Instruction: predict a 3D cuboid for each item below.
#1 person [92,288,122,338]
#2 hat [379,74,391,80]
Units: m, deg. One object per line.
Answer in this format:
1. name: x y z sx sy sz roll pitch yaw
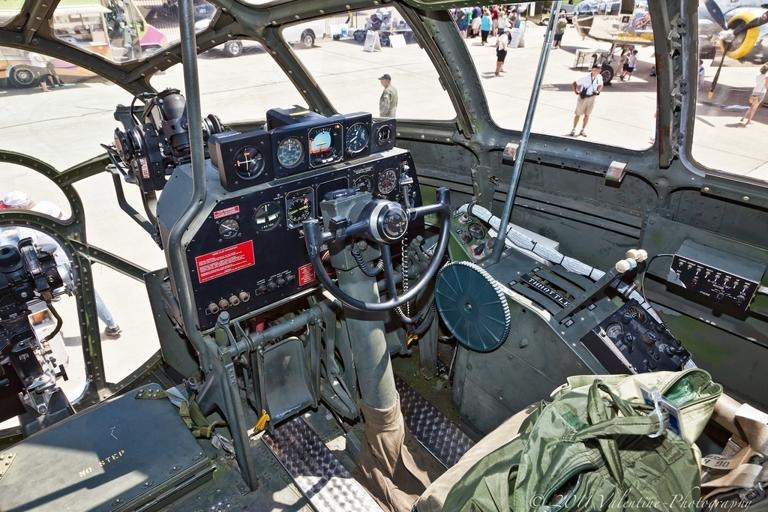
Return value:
1. person: -3.207 0.661 5.788 0.318 0.920 0.218 15 63 -12
2. hat: 0.008 -1.941 5.400 0.036 0.068 0.166 -23 36 -32
